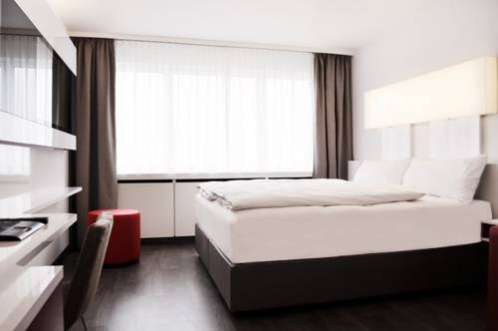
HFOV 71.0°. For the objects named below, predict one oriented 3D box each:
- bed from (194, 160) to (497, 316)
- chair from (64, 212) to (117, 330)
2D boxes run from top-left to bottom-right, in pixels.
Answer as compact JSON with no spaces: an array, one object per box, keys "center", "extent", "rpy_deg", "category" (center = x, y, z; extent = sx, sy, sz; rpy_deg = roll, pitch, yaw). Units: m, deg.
[{"center":[0.818,0.584,3.458],"extent":[1.743,0.712,1.282],"rpy_deg":[-1,-1,-15],"category":"bed"},{"center":[-1.009,0.694,2.192],"extent":[0.320,0.661,0.159],"rpy_deg":[-5,10,-29],"category":"chair"}]
